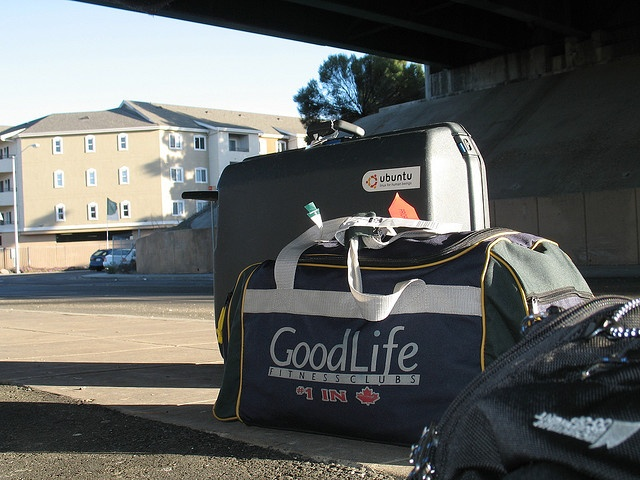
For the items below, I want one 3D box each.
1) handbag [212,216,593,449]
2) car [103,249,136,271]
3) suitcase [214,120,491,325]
[{"bbox_3d":[0.370,0.475,4.544,2.082,1.058,1.068,-4,-6,32],"label":"handbag"},{"bbox_3d":[-9.991,1.114,41.262,1.195,0.985,2.140,-1,8,10],"label":"car"},{"bbox_3d":[0.179,-0.082,4.860,1.409,1.109,0.473,-8,-3,42],"label":"suitcase"}]
